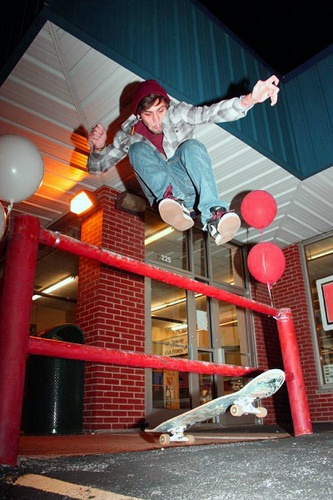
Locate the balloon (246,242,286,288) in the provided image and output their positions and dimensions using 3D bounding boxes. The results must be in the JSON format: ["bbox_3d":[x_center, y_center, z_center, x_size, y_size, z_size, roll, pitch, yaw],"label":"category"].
[{"bbox_3d":[1.182,0.153,4.034,0.354,0.625,0.438,-7,17,24],"label":"balloon"}]

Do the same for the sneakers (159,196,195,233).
[{"bbox_3d":[0.066,-0.255,2.427,0.132,0.148,0.326,-20,-30,12],"label":"sneakers"}]

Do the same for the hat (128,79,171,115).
[{"bbox_3d":[-0.137,-1.210,2.663,0.248,0.192,0.257,-24,3,10],"label":"hat"}]

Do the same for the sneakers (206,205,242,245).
[{"bbox_3d":[0.423,-0.201,2.482,0.163,0.193,0.454,-17,-23,-4],"label":"sneakers"}]

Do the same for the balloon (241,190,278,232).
[{"bbox_3d":[1.132,-0.494,4.101,0.471,0.531,0.466,-2,-1,15],"label":"balloon"}]

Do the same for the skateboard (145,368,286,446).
[{"bbox_3d":[0.343,0.879,1.883,0.893,0.345,0.386,11,-25,-32],"label":"skateboard"}]

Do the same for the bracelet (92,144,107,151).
[{"bbox_3d":[-0.627,-0.949,3.099,0.075,0.032,0.090,4,6,12],"label":"bracelet"}]
